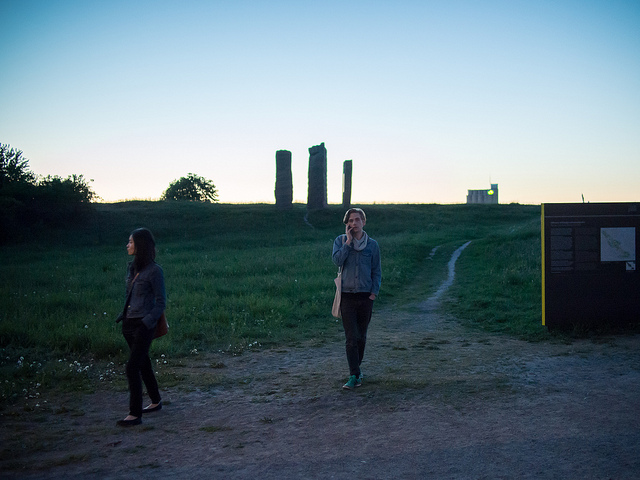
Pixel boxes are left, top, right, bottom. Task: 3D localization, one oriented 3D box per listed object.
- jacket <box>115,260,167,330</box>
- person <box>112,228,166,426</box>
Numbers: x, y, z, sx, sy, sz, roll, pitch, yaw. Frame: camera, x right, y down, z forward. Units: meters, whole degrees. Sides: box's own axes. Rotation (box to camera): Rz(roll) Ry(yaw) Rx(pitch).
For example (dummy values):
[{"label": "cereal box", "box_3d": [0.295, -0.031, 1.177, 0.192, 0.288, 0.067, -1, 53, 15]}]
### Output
[{"label": "jacket", "box_3d": [-2.886, 0.912, 9.197, 0.699, 1.016, 0.588, -2, 8, -1]}, {"label": "person", "box_3d": [-2.915, 1.375, 9.143, 0.795, 3.017, 0.969, -2, 8, -6]}]
